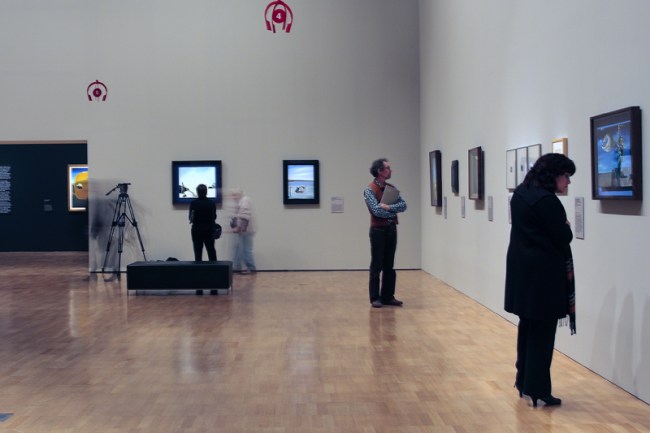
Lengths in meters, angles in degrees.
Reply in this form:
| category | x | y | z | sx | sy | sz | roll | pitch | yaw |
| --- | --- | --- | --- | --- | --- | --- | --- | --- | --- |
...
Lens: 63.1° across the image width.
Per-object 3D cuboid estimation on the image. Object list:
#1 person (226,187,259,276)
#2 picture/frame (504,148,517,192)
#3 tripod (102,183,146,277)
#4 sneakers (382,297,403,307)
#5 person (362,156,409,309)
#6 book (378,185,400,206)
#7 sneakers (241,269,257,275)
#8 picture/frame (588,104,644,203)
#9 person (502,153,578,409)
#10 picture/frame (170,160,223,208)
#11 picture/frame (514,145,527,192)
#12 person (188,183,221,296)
| category | x | y | z | sx | sy | sz | roll | pitch | yaw |
| --- | --- | --- | --- | --- | --- | --- | --- | --- | --- |
| person | -2.006 | 0.352 | 12.850 | 0.648 | 1.999 | 0.450 | -2 | 6 | -11 |
| picture/frame | 2.813 | -0.719 | 7.980 | 0.053 | 0.587 | 0.408 | 1 | 8 | 40 |
| tripod | -4.894 | 0.288 | 12.785 | 1.032 | 2.177 | 0.604 | -3 | 7 | -23 |
| sneakers | 1.205 | 1.523 | 9.356 | 0.380 | 0.172 | 0.147 | -1 | 0 | 6 |
| person | 1.030 | 0.305 | 9.032 | 0.648 | 2.564 | 0.633 | 0 | 6 | 5 |
| book | 1.062 | -0.339 | 8.802 | 0.257 | 0.386 | 0.028 | 10 | -11 | -3 |
| sneakers | -1.842 | 1.360 | 12.821 | 0.394 | 0.189 | 0.140 | 3 | -2 | 1 |
| picture/frame | 3.268 | -0.699 | 5.933 | 0.201 | 1.018 | 0.693 | -1 | 7 | -8 |
| person | 2.280 | 0.686 | 5.585 | 0.689 | 2.676 | 0.381 | 3 | 7 | 27 |
| picture/frame | -3.092 | -0.837 | 12.697 | 1.055 | 1.059 | 0.079 | 0 | -1 | -1 |
| picture/frame | 2.852 | -0.712 | 7.653 | 0.028 | 0.532 | 0.452 | -4 | 4 | 43 |
| person | -2.697 | 0.330 | 11.839 | 0.523 | 2.093 | 0.550 | 1 | 19 | -10 |
